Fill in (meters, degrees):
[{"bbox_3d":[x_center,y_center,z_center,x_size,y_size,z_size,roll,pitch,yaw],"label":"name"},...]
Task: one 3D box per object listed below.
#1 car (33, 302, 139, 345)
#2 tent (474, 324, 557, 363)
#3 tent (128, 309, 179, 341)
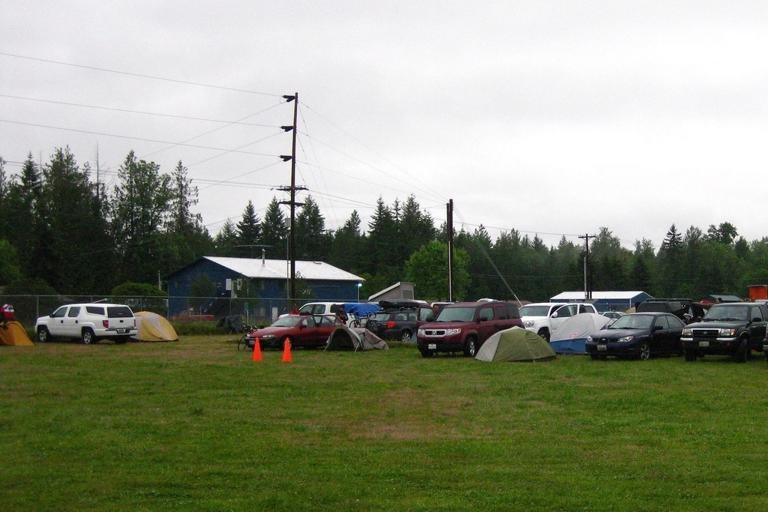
[{"bbox_3d":[-14.163,3.057,54.143,3.959,1.358,2.112,5,1,29],"label":"car"},{"bbox_3d":[5.191,3.547,46.505,3.392,1.329,3.101,-4,0,26],"label":"tent"},{"bbox_3d":[-11.612,3.465,56.666,1.757,0.966,2.634,1,-1,-22],"label":"tent"}]
